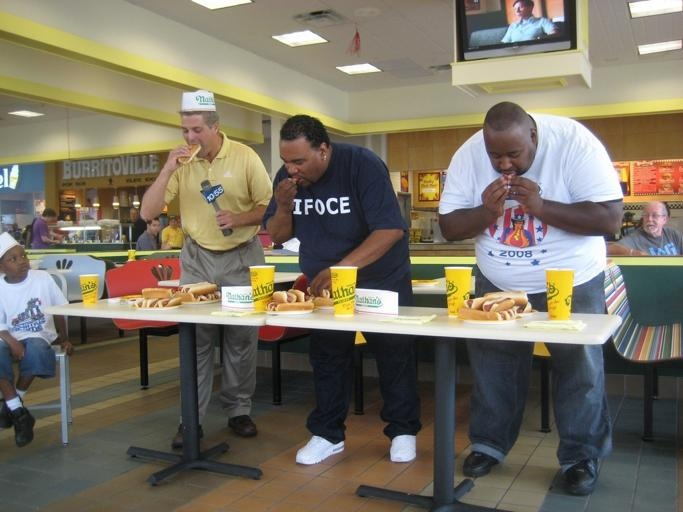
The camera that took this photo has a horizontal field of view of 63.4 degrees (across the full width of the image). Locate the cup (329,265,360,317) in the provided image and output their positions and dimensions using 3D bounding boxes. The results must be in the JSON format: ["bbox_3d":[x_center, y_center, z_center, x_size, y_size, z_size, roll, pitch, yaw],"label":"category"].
[{"bbox_3d":[0.011,0.148,2.194,0.192,0.231,0.177,0,-3,0],"label":"cup"}]

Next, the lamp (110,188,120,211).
[{"bbox_3d":[-4.063,-1.006,9.862,0.170,0.363,0.122,-4,4,-41],"label":"lamp"}]

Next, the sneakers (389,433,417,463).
[{"bbox_3d":[0.324,1.003,2.889,0.128,0.088,0.234,-1,-10,7],"label":"sneakers"}]

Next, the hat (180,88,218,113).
[{"bbox_3d":[-0.801,-0.865,3.095,0.127,0.156,0.206,2,4,43],"label":"hat"}]

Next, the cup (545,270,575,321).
[{"bbox_3d":[0.823,0.140,2.072,0.092,0.183,0.160,0,3,20],"label":"cup"}]

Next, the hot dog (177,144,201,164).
[{"bbox_3d":[-0.851,-0.559,3.083,0.119,0.114,0.301,-2,3,-13],"label":"hot dog"}]

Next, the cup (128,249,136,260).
[{"bbox_3d":[-2.969,-0.014,7.769,0.173,0.165,0.161,0,0,0],"label":"cup"}]

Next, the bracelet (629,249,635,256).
[{"bbox_3d":[2.149,-0.022,4.045,0.051,0.016,0.049,-19,27,34],"label":"bracelet"}]

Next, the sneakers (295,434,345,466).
[{"bbox_3d":[-0.124,1.028,2.962,0.275,0.115,0.113,4,-7,-42],"label":"sneakers"}]

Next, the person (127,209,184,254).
[{"bbox_3d":[-2.804,-0.322,8.247,0.773,0.298,0.404,-11,21,-36],"label":"person"}]

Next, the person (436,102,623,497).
[{"bbox_3d":[0.887,0.208,2.586,0.834,1.698,0.767,0,0,35],"label":"person"}]

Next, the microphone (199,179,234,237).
[{"bbox_3d":[-0.693,-0.266,3.036,0.150,0.312,0.308,-2,3,-14],"label":"microphone"}]

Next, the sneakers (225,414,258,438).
[{"bbox_3d":[-0.606,1.023,3.323,0.085,0.082,0.222,2,-4,-42],"label":"sneakers"}]

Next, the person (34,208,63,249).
[{"bbox_3d":[-4.135,-0.366,7.704,0.292,0.777,0.351,29,30,34],"label":"person"}]

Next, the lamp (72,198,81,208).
[{"bbox_3d":[-4.198,-0.837,8.739,0.067,0.155,0.261,-2,3,-9],"label":"lamp"}]

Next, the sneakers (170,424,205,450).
[{"bbox_3d":[-0.871,1.001,3.082,0.132,0.143,0.354,-1,-14,-1],"label":"sneakers"}]

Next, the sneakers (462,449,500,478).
[{"bbox_3d":[0.672,1.020,2.688,0.101,0.076,0.194,3,6,35],"label":"sneakers"}]
